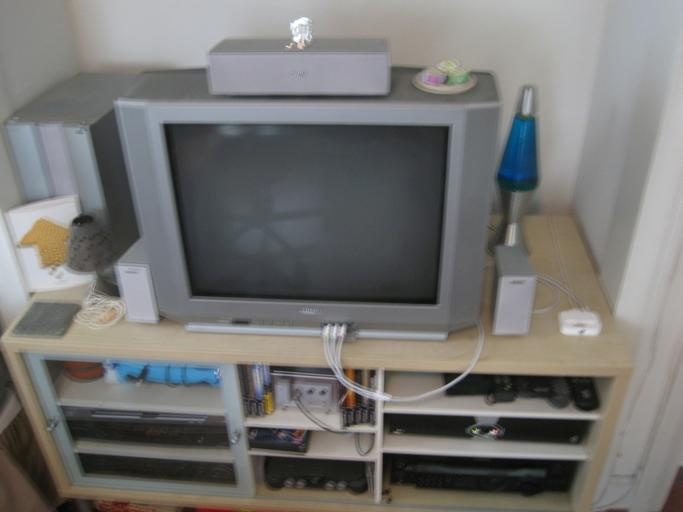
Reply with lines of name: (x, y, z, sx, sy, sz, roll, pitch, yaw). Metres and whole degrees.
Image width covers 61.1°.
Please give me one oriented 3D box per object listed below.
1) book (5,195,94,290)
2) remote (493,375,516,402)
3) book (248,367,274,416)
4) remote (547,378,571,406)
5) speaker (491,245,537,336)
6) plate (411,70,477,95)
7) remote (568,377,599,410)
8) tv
book: (-1.053, -0.040, 2.038, 0.321, 0.301, 0.076, -5, 13, -9)
remote: (0.539, 0.444, 1.932, 0.084, 0.057, 0.078, -3, 30, -1)
book: (-0.277, 0.455, 1.968, 0.101, 0.195, 0.056, 3, 46, -2)
remote: (0.721, 0.455, 1.918, 0.071, 0.057, 0.083, 0, 30, 4)
speaker: (0.546, 0.121, 1.839, 0.126, 0.233, 0.223, 4, 22, 9)
plate: (0.301, -0.501, 1.672, 0.189, 0.042, 0.113, 0, 29, 2)
remote: (0.802, 0.450, 1.916, 0.068, 0.040, 0.147, -8, 41, 12)
tv: (-0.077, -0.208, 1.996, 1.174, 0.850, 0.621, 3, 33, 4)
